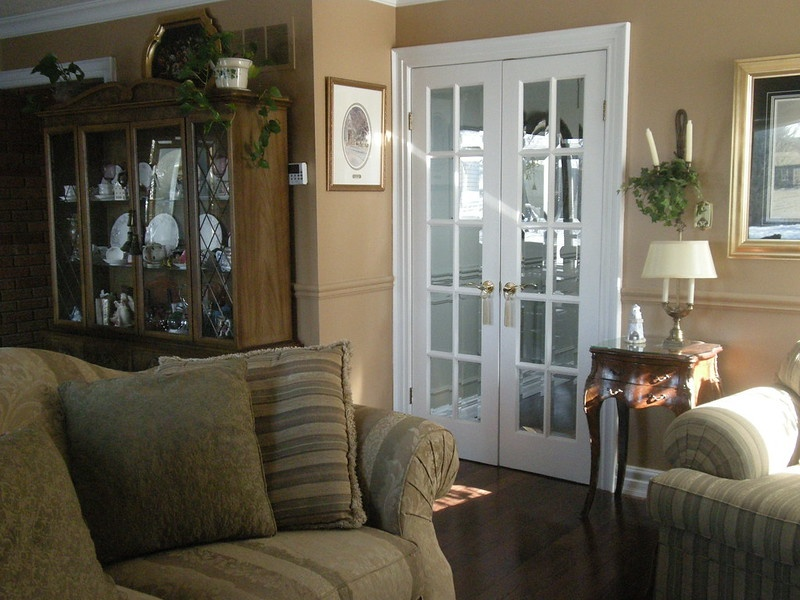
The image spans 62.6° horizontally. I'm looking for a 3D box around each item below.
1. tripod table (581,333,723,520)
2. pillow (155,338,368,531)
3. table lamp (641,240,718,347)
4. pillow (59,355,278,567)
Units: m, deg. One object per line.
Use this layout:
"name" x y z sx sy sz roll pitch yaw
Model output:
"tripod table" 1.309 0.700 3.448 0.610 0.885 0.556 3 3 35
"pillow" -0.337 0.394 2.184 0.608 0.640 0.192 -8 -14 -3
"table lamp" 1.420 -0.048 3.365 0.322 0.516 0.419 3 11 23
"pillow" -0.731 0.512 2.041 0.560 0.591 0.270 -12 -22 -21
